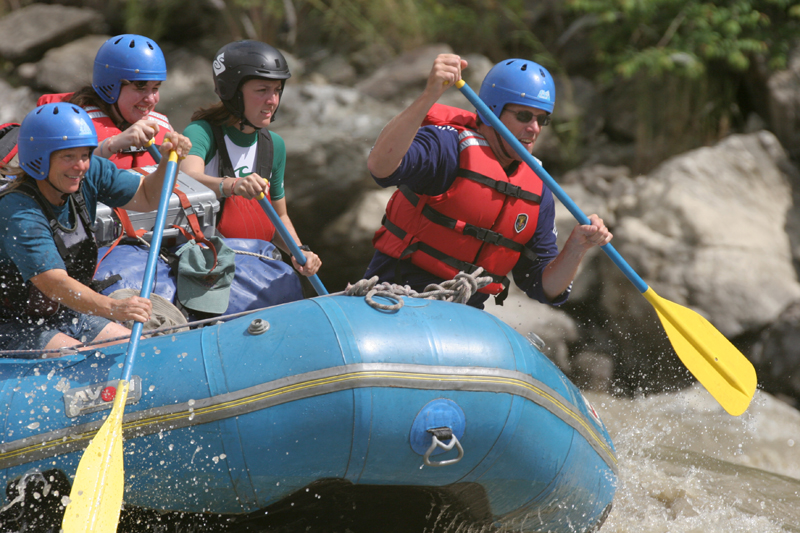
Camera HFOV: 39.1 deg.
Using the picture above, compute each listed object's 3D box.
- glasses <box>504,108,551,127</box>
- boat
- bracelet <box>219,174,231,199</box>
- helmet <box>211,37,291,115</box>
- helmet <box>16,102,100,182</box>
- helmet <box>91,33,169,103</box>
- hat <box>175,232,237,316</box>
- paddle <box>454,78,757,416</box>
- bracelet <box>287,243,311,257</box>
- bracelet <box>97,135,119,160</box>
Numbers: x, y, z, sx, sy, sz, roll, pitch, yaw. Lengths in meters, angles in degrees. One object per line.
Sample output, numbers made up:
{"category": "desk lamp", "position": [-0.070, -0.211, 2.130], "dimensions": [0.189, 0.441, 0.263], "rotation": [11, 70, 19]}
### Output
{"category": "glasses", "position": [0.907, -1.089, 8.137], "dimensions": [0.359, 0.153, 0.103], "rotation": [7, 41, -5]}
{"category": "boat", "position": [-0.701, 0.985, 7.473], "dimensions": [2.834, 1.808, 0.789], "rotation": [8, 77, -12]}
{"category": "bracelet", "position": [-1.281, -0.586, 8.163], "dimensions": [0.066, 0.188, 0.179], "rotation": [1, 42, -10]}
{"category": "helmet", "position": [-1.121, -1.427, 8.324], "dimensions": [0.496, 0.420, 0.414], "rotation": [18, -2, 24]}
{"category": "helmet", "position": [-2.218, -0.829, 7.491], "dimensions": [0.487, 0.464, 0.414], "rotation": [6, 2, 10]}
{"category": "helmet", "position": [-2.028, -1.492, 8.537], "dimensions": [0.526, 0.474, 0.434], "rotation": [24, 24, 22]}
{"category": "hat", "position": [-1.405, 0.091, 8.036], "dimensions": [0.337, 0.216, 0.569], "rotation": [3, 57, -21]}
{"category": "paddle", "position": [1.813, -0.089, 9.470], "dimensions": [3.866, 0.650, 0.148], "rotation": [49, 4, -18]}
{"category": "bracelet", "position": [-0.726, -0.135, 8.284], "dimensions": [0.089, 0.111, 0.046], "rotation": [51, 57, -16]}
{"category": "bracelet", "position": [-2.037, -0.834, 7.762], "dimensions": [0.117, 0.158, 0.056], "rotation": [-6, 71, -42]}
